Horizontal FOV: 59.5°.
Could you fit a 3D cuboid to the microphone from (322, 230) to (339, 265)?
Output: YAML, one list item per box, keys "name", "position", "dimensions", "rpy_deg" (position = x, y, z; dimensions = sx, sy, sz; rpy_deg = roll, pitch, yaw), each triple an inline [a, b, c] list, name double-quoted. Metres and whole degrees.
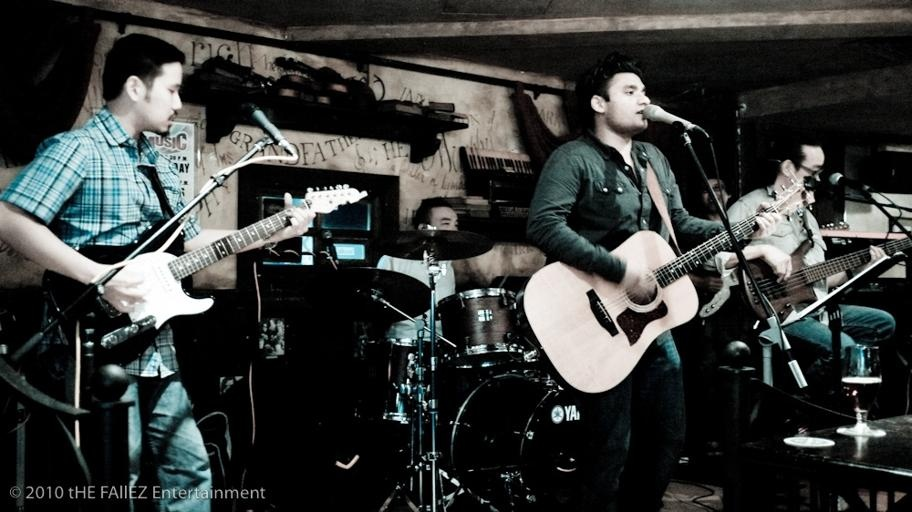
- name: "microphone"
  position: [-1.014, -0.043, 6.340]
  dimensions: [0.105, 0.313, 0.124]
  rpy_deg: [-18, 30, -14]

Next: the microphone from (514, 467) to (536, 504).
- name: "microphone"
  position: [0.573, 1.893, 6.562]
  dimensions: [0.203, 0.245, 0.067]
  rpy_deg: [-8, -12, -11]

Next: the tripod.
- name: "tripod"
  position: [-0.210, 0.902, 6.635]
  dimensions: [0.900, 2.267, 0.740]
  rpy_deg: [2, -6, 40]

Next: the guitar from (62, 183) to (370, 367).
- name: "guitar"
  position: [-1.621, 0.106, 5.362]
  dimensions: [1.382, 1.279, 0.327]
  rpy_deg: [6, -5, -20]
